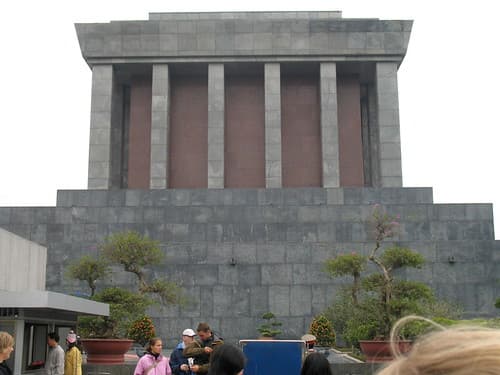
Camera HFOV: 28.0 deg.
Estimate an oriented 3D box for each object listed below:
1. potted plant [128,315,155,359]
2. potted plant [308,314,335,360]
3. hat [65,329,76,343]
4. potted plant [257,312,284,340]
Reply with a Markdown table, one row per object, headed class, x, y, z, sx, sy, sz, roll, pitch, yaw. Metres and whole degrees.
| class | x | y | z | sx | sy | sz | roll | pitch | yaw |
| --- | --- | --- | --- | --- | --- | --- | --- | --- | --- |
| potted plant | -4.342 | 5.884 | 39.444 | 1.064 | 1.575 | 1.091 | 6 | -25 | -10 |
| potted plant | 2.968 | 5.939 | 40.488 | 1.316 | 2.108 | 1.315 | 2 | -29 | -1 |
| hat | -5.521 | 4.649 | 31.001 | 0.252 | 0.356 | 0.460 | 0 | -12 | -7 |
| potted plant | 0.877 | 5.874 | 43.486 | 1.073 | 1.379 | 1.070 | 8 | 5 | 33 |
